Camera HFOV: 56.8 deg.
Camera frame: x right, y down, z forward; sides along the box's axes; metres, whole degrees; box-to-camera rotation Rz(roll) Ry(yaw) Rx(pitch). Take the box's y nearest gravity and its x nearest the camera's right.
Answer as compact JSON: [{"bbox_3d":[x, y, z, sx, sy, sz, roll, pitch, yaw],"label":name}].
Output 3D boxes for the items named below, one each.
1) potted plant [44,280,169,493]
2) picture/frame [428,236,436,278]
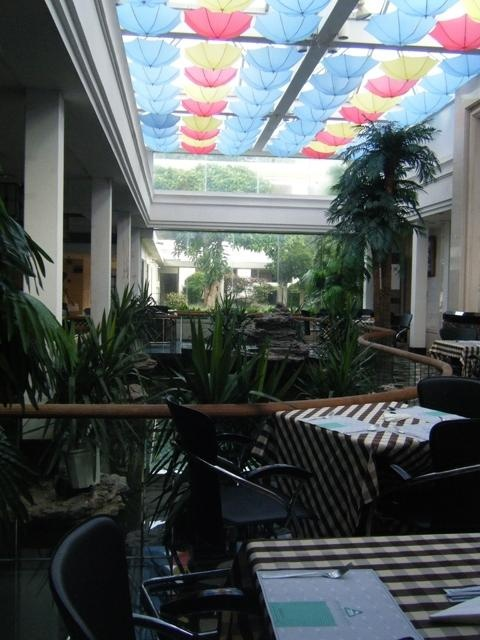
[{"bbox_3d":[-0.826,0.379,3.206,0.628,1.409,0.803,3,0,7],"label":"potted plant"},{"bbox_3d":[5.949,-2.003,13.785,0.237,1.420,0.680,1,0,23],"label":"picture/frame"}]
